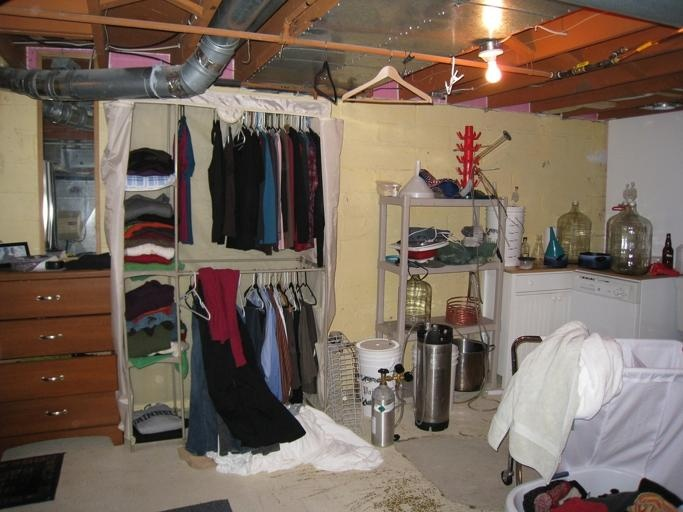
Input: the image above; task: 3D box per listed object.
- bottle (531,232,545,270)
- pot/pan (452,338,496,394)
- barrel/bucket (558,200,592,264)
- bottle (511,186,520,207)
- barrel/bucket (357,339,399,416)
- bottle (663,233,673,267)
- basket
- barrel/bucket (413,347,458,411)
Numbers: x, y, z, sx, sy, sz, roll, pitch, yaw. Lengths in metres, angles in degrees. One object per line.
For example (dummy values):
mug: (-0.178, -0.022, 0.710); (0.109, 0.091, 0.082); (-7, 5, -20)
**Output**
bottle: (1.970, -0.053, 5.782); (0.130, 0.326, 0.546); (0, 3, 19)
pot/pan: (1.185, 1.000, 5.243); (0.468, 0.429, 0.359); (2, -1, -9)
barrel/bucket: (2.428, -0.242, 6.020); (0.351, 0.607, 0.223); (-2, 3, -22)
bottle: (1.738, -0.598, 5.789); (0.074, 0.190, 0.223); (0, 3, 19)
barrel/bucket: (0.313, 1.019, 4.790); (0.324, 0.632, 0.269); (-3, 3, -42)
bottle: (3.088, -0.048, 5.485); (0.093, 0.316, 0.176); (0, 3, 28)
basket: (0.020, 1.053, 4.761); (0.249, 0.710, 0.652); (-1, -8, -13)
barrel/bucket: (0.816, 1.030, 4.980); (0.371, 0.586, 0.638); (-1, 2, 11)
